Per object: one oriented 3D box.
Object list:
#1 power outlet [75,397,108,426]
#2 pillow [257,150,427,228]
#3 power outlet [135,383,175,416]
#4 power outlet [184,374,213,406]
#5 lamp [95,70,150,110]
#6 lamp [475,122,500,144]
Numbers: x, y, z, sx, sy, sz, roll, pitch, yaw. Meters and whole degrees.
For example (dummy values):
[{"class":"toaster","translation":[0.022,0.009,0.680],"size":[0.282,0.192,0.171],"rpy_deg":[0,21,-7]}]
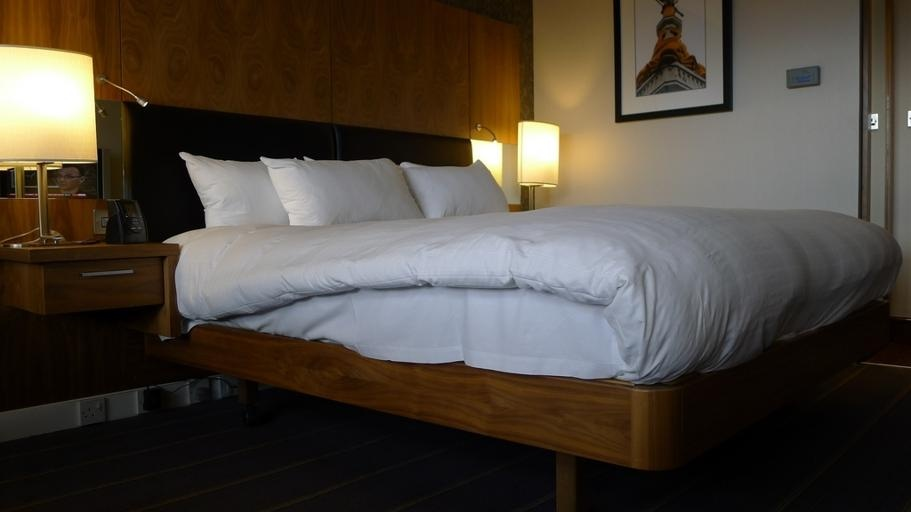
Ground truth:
[{"class":"power outlet","translation":[-2.158,0.916,3.654],"size":[0.161,0.145,0.081],"rpy_deg":[-4,-3,-27]},{"class":"pillow","translation":[-0.698,-0.396,3.882],"size":[1.042,0.444,0.402],"rpy_deg":[-6,24,-34]},{"class":"power outlet","translation":[-1.855,0.877,3.868],"size":[0.137,0.213,0.253],"rpy_deg":[-9,-9,38]},{"class":"power outlet","translation":[-1.626,0.855,3.949],"size":[0.050,0.137,0.145],"rpy_deg":[-6,-9,42]},{"class":"lamp","translation":[-2.024,-0.996,3.733],"size":[0.077,0.401,0.104],"rpy_deg":[-52,-4,-36]},{"class":"lamp","translation":[0.258,-1.053,5.428],"size":[0.264,0.123,0.099],"rpy_deg":[22,-14,-29]}]
